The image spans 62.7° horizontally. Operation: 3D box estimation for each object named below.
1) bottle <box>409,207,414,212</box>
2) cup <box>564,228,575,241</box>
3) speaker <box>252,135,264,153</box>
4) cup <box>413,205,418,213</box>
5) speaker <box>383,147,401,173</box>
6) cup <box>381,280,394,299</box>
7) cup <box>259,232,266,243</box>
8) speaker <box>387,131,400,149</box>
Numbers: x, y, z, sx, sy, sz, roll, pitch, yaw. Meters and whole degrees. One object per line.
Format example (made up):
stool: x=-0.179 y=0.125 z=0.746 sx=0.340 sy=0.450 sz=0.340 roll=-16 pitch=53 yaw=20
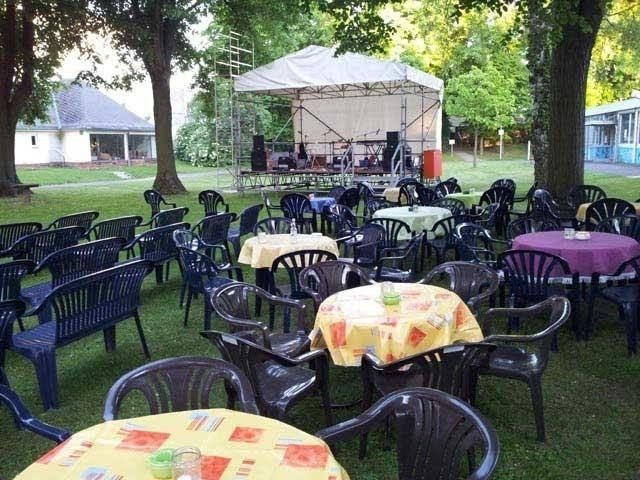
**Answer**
bottle: x=1.452 y=-0.491 z=8.198 sx=0.059 sy=0.045 sz=0.062 roll=-1 pitch=3 yaw=0
cup: x=2.768 y=-0.072 z=5.705 sx=0.129 sy=0.125 sz=0.108 roll=1 pitch=1 yaw=7
speaker: x=-2.256 y=-3.622 z=19.559 sx=0.416 sy=0.648 sz=0.954 roll=-1 pitch=8 yaw=-7
cup: x=1.519 y=-0.498 z=8.165 sx=0.090 sy=0.142 sz=0.093 roll=-2 pitch=10 yaw=0
speaker: x=2.403 y=-2.646 z=17.178 sx=0.566 sy=0.839 sz=1.574 roll=1 pitch=8 yaw=6
cup: x=0.529 y=0.373 z=4.004 sx=0.096 sy=0.196 sz=0.102 roll=0 pitch=-3 yaw=0
cup: x=-0.679 y=-0.034 z=6.275 sx=0.092 sy=0.116 sz=0.103 roll=-1 pitch=-3 yaw=3
speaker: x=2.508 y=-3.354 z=17.575 sx=0.491 sy=0.788 sz=0.527 roll=-1 pitch=8 yaw=10
